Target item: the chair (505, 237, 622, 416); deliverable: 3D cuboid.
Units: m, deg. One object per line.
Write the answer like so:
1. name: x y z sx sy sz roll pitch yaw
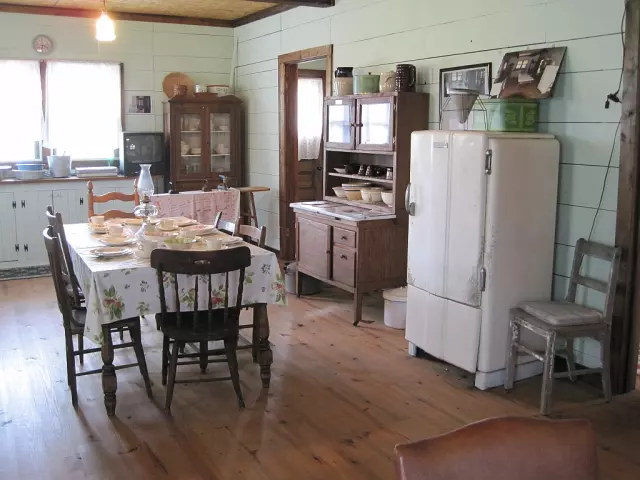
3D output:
1. chair: 1.664 0.552 3.336 0.698 1.052 0.485 -4 14 -19

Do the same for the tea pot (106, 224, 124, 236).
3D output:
1. tea pot: -1.567 -0.068 3.806 0.146 0.092 0.119 5 -5 -38

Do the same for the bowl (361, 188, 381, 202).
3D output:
1. bowl: 0.504 -0.452 4.915 0.159 0.081 0.146 1 5 0

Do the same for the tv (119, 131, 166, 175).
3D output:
1. tv: -2.457 -1.179 7.067 0.639 0.643 0.379 -3 0 4

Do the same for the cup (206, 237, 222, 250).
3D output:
1. cup: -0.715 0.028 3.312 0.081 0.065 0.086 2 15 -1

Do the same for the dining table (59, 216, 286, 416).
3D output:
1. dining table: -1.045 0.692 3.924 1.342 0.837 1.760 -4 -6 -20

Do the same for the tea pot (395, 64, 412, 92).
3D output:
1. tea pot: 0.758 -1.475 4.463 0.151 0.247 0.244 -1 9 -12

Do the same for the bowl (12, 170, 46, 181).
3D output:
1. bowl: -3.719 -0.833 6.283 0.316 0.121 0.339 0 12 0

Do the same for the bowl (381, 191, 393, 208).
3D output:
1. bowl: 0.629 -0.378 4.651 0.134 0.100 0.133 1 12 0

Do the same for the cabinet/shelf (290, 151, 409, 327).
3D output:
1. cabinet/shelf: 0.284 -0.142 5.014 0.649 1.575 1.216 -5 12 -29

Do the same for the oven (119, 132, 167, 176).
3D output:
1. oven: -2.451 -1.205 7.065 0.635 0.586 0.348 1 3 5

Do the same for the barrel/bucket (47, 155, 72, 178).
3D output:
1. barrel/bucket: -3.418 -0.955 6.399 0.283 0.283 0.301 2 8 0

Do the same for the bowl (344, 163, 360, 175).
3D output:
1. bowl: 0.335 -0.751 5.170 0.127 0.085 0.125 1 9 0

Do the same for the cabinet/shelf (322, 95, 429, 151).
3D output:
1. cabinet/shelf: 0.470 -1.150 4.884 0.400 0.517 0.976 -11 17 -39

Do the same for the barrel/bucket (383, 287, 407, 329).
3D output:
1. barrel/bucket: 0.668 0.629 4.576 0.320 0.300 0.314 0 8 0

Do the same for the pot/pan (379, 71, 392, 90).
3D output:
1. pot/pan: 0.612 -1.482 4.629 0.088 0.180 0.189 -5 14 -21

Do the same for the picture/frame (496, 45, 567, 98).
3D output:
1. picture/frame: 1.575 -1.235 3.622 0.048 0.310 0.444 15 5 -40

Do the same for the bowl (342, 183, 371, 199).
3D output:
1. bowl: 0.350 -0.521 5.103 0.197 0.111 0.196 2 7 0

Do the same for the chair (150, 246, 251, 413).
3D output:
1. chair: -0.787 0.521 3.274 0.612 1.085 0.720 -5 14 -22

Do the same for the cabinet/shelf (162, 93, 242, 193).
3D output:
1. cabinet/shelf: -1.696 -1.437 7.190 1.065 1.359 0.263 -7 15 -30
